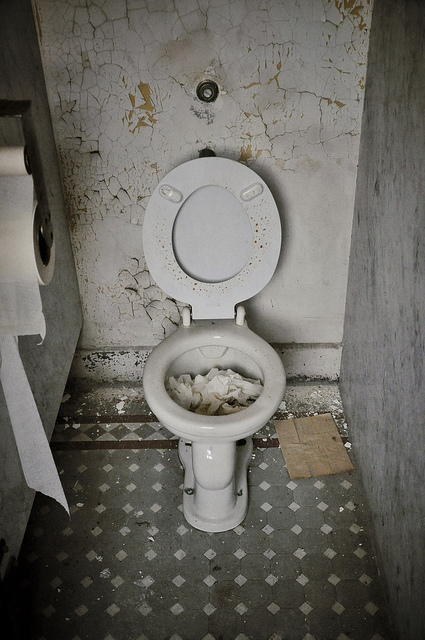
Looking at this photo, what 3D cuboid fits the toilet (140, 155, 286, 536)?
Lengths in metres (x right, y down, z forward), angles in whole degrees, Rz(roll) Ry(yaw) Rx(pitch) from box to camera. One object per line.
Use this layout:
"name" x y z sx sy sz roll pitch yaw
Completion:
"toilet" 0.004 0.043 1.327 0.375 0.887 0.630 -4 24 -4

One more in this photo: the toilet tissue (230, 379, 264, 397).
"toilet tissue" 0.087 0.165 1.349 0.096 0.041 0.032 16 43 22

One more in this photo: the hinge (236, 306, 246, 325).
"hinge" 0.077 -0.012 1.400 0.030 0.071 0.057 -1 -10 3

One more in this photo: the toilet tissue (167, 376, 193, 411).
"toilet tissue" -0.085 0.186 1.316 0.072 0.028 0.054 39 56 14
